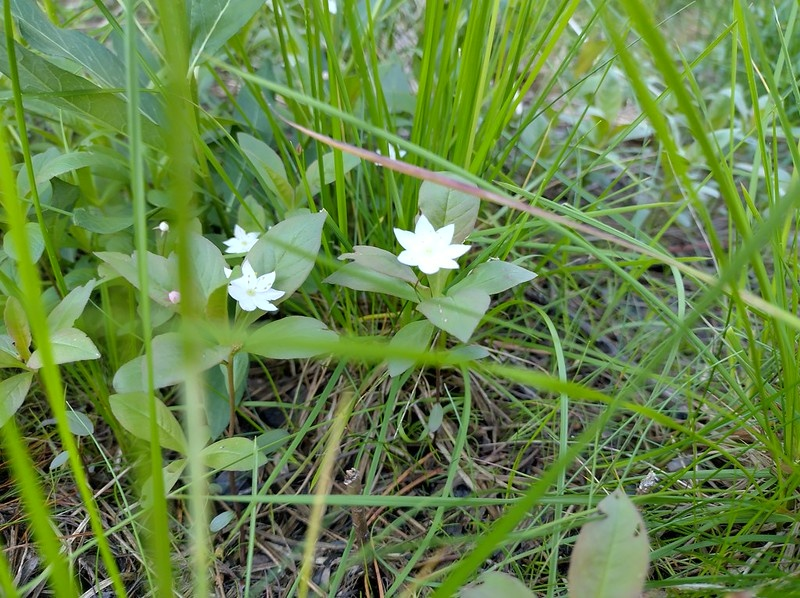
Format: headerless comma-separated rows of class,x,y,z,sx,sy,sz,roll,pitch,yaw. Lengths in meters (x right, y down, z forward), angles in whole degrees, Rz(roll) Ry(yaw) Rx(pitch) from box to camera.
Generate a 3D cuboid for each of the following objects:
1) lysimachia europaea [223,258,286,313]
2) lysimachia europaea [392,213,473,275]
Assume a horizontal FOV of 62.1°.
lysimachia europaea,-0.262,-0.012,1.234,0.099,0.063,0.100,21,47,6
lysimachia europaea,0.058,-0.100,1.224,0.111,0.038,0.113,2,50,-5
